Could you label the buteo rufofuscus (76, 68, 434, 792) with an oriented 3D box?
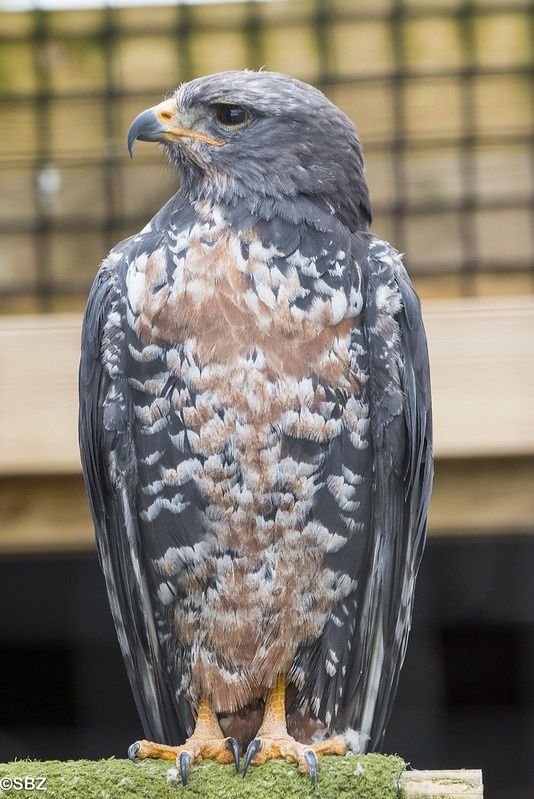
[{"bbox_3d":[-0.022,0.082,5.111,0.963,1.850,0.602,-4,13,-7],"label":"buteo rufofuscus"}]
